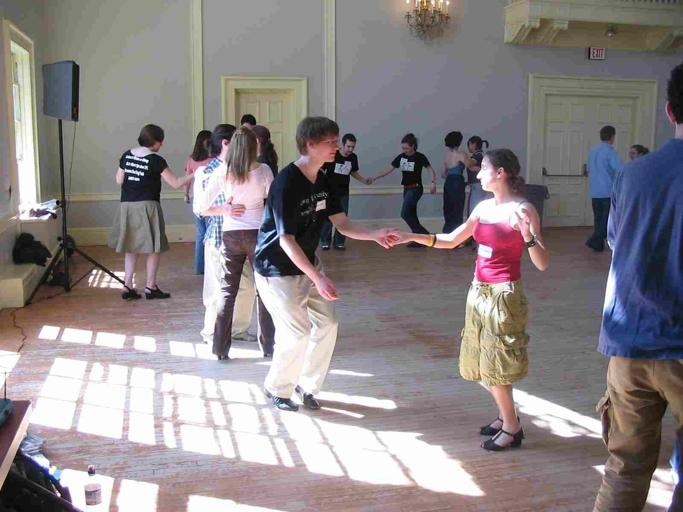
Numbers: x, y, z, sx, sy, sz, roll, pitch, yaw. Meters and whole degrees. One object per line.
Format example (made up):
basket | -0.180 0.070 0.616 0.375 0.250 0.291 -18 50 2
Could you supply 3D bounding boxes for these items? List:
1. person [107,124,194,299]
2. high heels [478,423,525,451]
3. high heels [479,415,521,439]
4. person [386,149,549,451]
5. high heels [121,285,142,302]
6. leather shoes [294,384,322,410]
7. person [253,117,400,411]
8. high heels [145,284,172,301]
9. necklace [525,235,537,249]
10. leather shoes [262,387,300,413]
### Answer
person | -2.211 -0.466 5.772 0.607 1.895 0.433 -5 13 -23
high heels | 0.888 1.012 2.924 0.216 0.092 0.106 -2 3 -6
high heels | 0.906 0.967 3.032 0.202 0.083 0.113 -9 6 -10
person | 0.783 0.241 2.921 0.585 1.634 0.542 4 12 15
high heels | -2.333 0.421 5.860 0.093 0.106 0.251 3 6 13
leather shoes | -0.213 0.912 3.405 0.073 0.051 0.189 -1 27 -38
person | -0.232 0.067 3.314 0.651 1.823 0.606 5 13 21
high heels | -2.068 0.424 5.915 0.315 0.152 0.117 -2 4 -28
necklace | 0.932 -0.069 2.599 0.042 0.028 0.054 20 57 36
leather shoes | -0.397 0.936 3.421 0.251 0.104 0.093 10 2 32
